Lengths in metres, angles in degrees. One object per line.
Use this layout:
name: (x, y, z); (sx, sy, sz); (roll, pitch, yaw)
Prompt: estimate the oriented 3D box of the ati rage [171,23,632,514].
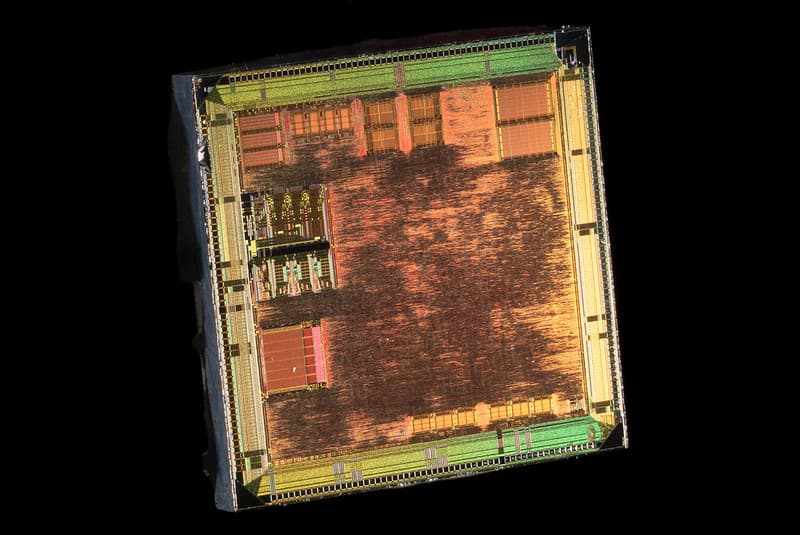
ati rage: (-0.432, -0.206, 63.790); (12.662, 12.441, 3.085); (-7, 2, -4)
